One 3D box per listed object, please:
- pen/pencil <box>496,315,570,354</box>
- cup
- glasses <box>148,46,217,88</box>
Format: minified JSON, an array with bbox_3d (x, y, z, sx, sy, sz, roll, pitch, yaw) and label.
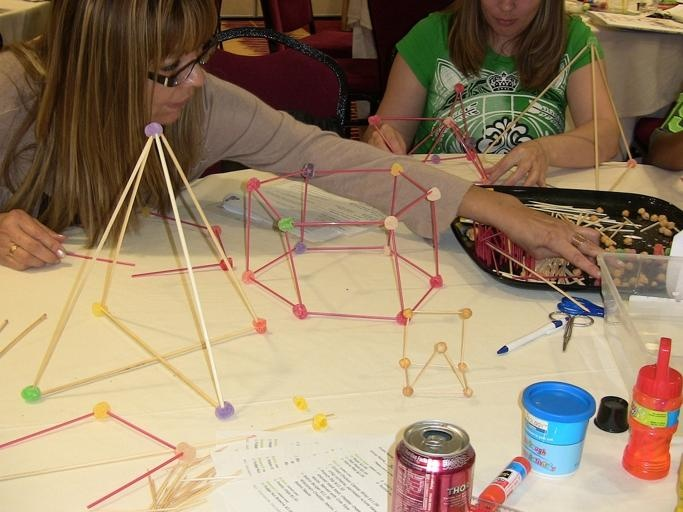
[{"bbox_3d":[0.336,0.141,0.961,0.116,0.013,0.020,-20,14,-25],"label":"pen/pencil"},{"bbox_3d":[0.280,0.230,0.712,0.082,0.087,0.085,-1,26,0],"label":"cup"},{"bbox_3d":[-0.321,-0.389,1.116,0.052,0.083,0.156,14,28,30],"label":"glasses"}]
